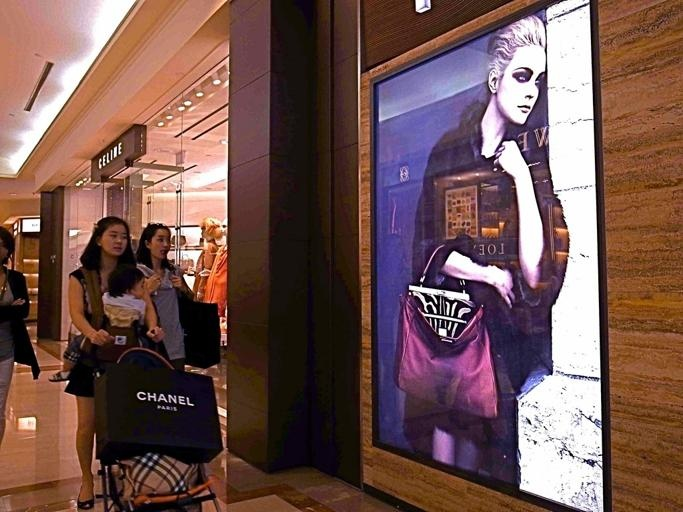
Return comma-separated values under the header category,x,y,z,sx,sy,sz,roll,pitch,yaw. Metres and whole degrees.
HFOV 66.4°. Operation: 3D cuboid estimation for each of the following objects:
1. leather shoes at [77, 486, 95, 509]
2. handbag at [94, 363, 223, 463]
category,x,y,z,sx,sy,sz,roll,pitch,yaw
leather shoes,-1.646,1.545,3.356,0.063,0.082,0.194,4,-2,-22
handbag,-0.926,0.837,2.684,0.597,0.431,0.289,21,-55,-38
